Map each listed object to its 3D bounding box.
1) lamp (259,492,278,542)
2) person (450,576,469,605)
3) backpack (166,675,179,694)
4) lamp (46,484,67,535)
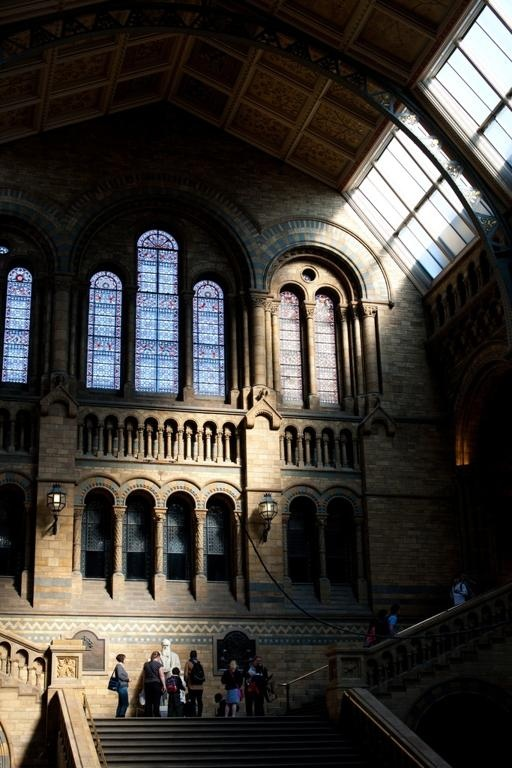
[{"bbox_3d":[0.309,3.246,20.807,0.463,1.126,0.606,-2,7,-1],"label":"lamp"},{"bbox_3d":[4.553,4.712,19.019,0.393,0.607,1.117,-1,6,13],"label":"person"},{"bbox_3d":[-1.585,5.674,16.181,0.205,0.264,0.367,-2,6,-1],"label":"backpack"},{"bbox_3d":[-4.495,2.815,19.258,0.418,1.093,0.572,-4,7,-11],"label":"lamp"}]
